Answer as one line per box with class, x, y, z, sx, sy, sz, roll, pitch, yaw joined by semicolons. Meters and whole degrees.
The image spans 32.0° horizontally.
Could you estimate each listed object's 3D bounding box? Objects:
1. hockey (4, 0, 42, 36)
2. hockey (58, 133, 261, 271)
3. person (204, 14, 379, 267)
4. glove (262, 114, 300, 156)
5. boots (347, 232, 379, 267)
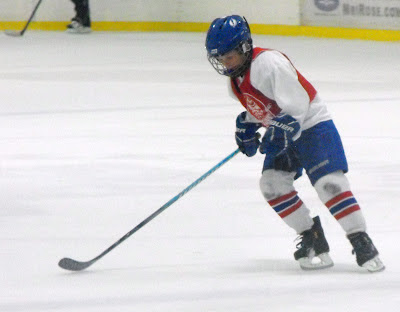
hockey;-2.487;-1.939;9.754;0.129;0.865;0.129;37;-11;-3
hockey;-0.243;0.304;4.296;1.192;0.058;0.198;-34;32;5
person;0.511;-0.082;3.782;0.958;1.374;0.360;1;5;8
glove;0.420;-0.109;3.678;0.170;0.227;0.092;43;7;8
boots;0.857;0.495;3.691;0.114;0.178;0.188;-26;-18;17
